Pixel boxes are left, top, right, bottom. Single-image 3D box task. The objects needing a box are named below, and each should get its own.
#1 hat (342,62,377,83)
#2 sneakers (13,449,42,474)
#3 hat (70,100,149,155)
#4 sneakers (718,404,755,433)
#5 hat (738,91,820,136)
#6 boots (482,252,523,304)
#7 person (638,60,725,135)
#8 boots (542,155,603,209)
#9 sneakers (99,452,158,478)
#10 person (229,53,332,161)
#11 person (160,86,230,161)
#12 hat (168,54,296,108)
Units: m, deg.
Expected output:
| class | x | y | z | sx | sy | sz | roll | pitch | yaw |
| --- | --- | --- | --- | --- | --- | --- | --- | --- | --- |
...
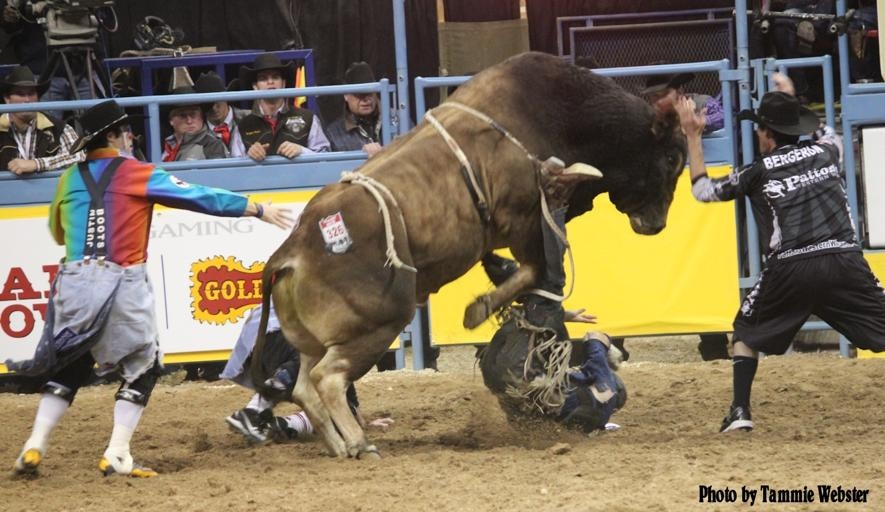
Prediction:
| class | x | y | z | sx | sy | sz | roll | pitch | yaw |
| --- | --- | --- | --- | --- | --- | --- | --- | --- | --- |
| hat | -0.951 | -2.054 | 17.686 | 0.367 | 0.174 | 0.470 | -20 | 12 | -13 |
| sneakers | -3.694 | 1.846 | 13.891 | 0.181 | 0.289 | 0.123 | 6 | 42 | 0 |
| hat | -3.024 | -1.200 | 14.272 | 0.789 | 0.287 | 0.683 | -15 | -16 | 2 |
| sneakers | 2.726 | 1.514 | 14.391 | 0.301 | 0.228 | 0.157 | 0 | 11 | 7 |
| hat | 3.190 | -1.378 | 14.589 | 0.812 | 0.288 | 0.781 | 0 | 4 | -8 |
| boots | 0.509 | 0.218 | 14.461 | 0.354 | 0.410 | 0.176 | 9 | 1 | 1 |
| person | 2.497 | -1.621 | 16.031 | 0.827 | 0.408 | 1.085 | -18 | -4 | 6 |
| boots | 1.266 | -0.667 | 14.161 | 0.754 | 0.479 | 0.245 | -5 | 16 | 23 |
| sneakers | -2.848 | 1.889 | 13.946 | 0.579 | 0.213 | 0.195 | 1 | -4 | -16 |
| person | -1.834 | -1.471 | 16.940 | 1.355 | 1.360 | 0.860 | -7 | -1 | -16 |
| person | -2.686 | -1.444 | 17.106 | 0.879 | 0.904 | 0.490 | -10 | -12 | -2 |
| hat | -2.358 | -1.971 | 17.527 | 0.886 | 0.482 | 0.430 | -4 | 8 | 2 |
